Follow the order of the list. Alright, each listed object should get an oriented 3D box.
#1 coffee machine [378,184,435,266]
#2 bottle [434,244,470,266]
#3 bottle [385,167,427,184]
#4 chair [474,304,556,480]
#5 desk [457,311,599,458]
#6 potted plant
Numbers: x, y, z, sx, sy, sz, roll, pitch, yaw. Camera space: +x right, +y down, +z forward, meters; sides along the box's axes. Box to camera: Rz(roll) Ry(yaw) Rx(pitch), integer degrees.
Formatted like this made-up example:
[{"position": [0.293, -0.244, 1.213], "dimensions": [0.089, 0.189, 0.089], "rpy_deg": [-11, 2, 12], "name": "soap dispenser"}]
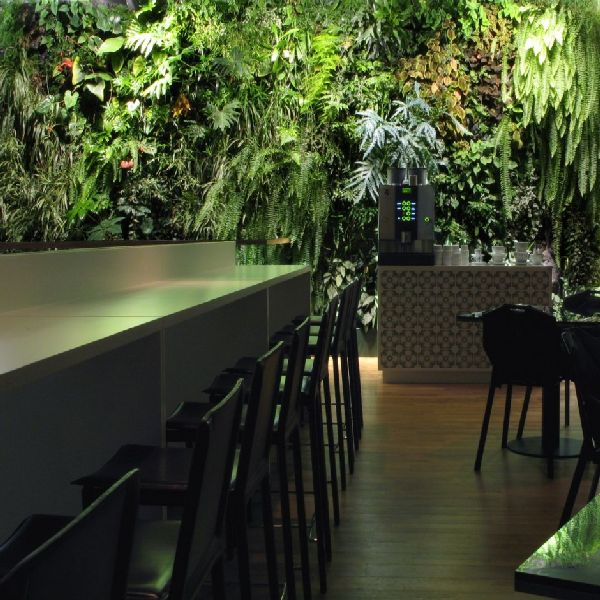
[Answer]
[{"position": [1.006, -0.557, 5.570], "dimensions": [0.567, 0.881, 0.605], "rpy_deg": [5, -28, 2], "name": "coffee machine"}, {"position": [1.410, -0.414, 5.358], "dimensions": [0.174, 0.139, 0.254], "rpy_deg": [1, -2, 1], "name": "bottle"}, {"position": [1.006, -1.168, 5.490], "dimensions": [0.353, 0.191, 0.311], "rpy_deg": [-1, 4, 6], "name": "bottle"}, {"position": [1.215, 0.487, 3.280], "dimensions": [0.438, 0.944, 0.499], "rpy_deg": [0, 4, 18], "name": "chair"}, {"position": [1.325, 0.524, 3.381], "dimensions": [0.634, 1.115, 0.685], "rpy_deg": [-2, 3, -41], "name": "desk"}, {"position": [1.077, -1.693, 6.050], "dimensions": [1.108, 1.081, 0.445], "rpy_deg": [-1, 4, -3], "name": "potted plant"}]
